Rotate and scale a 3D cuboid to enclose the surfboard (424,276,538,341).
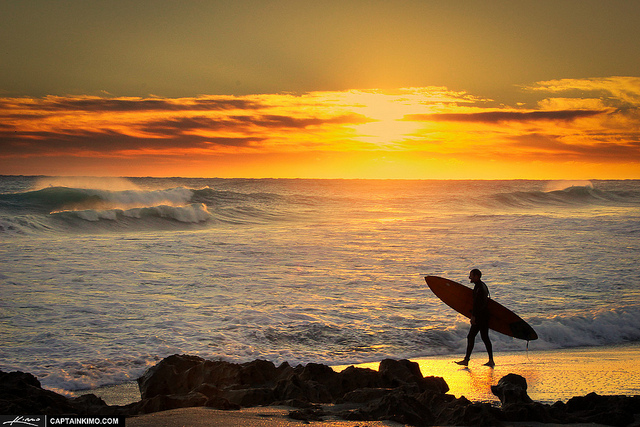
[{"bbox_3d":[4.954,2.829,24.625,0.679,0.851,5.023,5,13,-36],"label":"surfboard"}]
